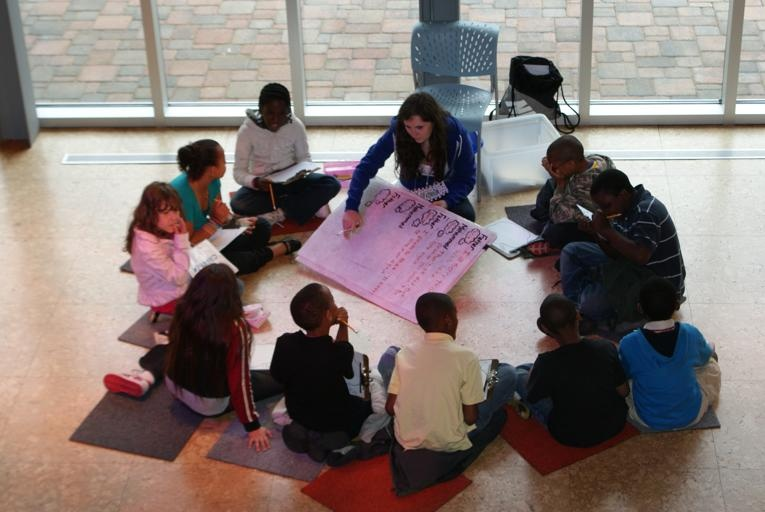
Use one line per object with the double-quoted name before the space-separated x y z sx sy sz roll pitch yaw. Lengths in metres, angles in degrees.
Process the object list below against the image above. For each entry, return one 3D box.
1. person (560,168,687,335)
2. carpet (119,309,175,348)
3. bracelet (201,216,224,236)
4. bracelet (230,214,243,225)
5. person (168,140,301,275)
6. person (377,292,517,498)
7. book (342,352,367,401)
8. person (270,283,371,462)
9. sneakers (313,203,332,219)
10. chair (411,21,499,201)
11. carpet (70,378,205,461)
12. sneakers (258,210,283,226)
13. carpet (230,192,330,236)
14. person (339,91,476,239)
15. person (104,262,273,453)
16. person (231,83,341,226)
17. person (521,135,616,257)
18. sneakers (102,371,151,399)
"person" 1.473 -0.032 3.807 0.710 0.957 0.754 -9 11 -27
"carpet" -1.480 0.466 3.827 0.286 0.010 0.253 15 40 18
"bracelet" -1.114 -0.199 4.038 0.115 0.031 0.083 -38 31 -24
"bracelet" -1.019 -0.261 4.365 0.121 0.037 0.115 -2 18 -13
"person" -1.086 -0.309 4.085 1.081 1.030 0.651 -1 53 -8
"person" 0.340 0.604 3.175 0.713 0.883 0.848 -1 24 3
"book" -0.151 0.623 3.125 0.031 0.247 0.195 -9 -12 26
"person" -0.310 0.601 3.094 0.474 0.877 0.325 -10 23 -18
"sneakers" -0.446 -0.333 4.761 0.120 0.103 0.117 -27 8 -23
"chair" 0.862 -1.209 5.218 1.031 1.058 1.425 3 -21 10
"carpet" -1.363 0.902 3.368 0.524 0.006 0.545 14 15 -15
"sneakers" -0.861 -0.292 4.663 0.239 0.076 0.098 -7 -10 -20
"carpet" -0.655 -0.275 4.483 0.419 0.422 0.118 -21 -16 -3
"person" 0.194 -0.648 4.359 0.943 0.992 0.877 -9 42 4
"person" -0.888 0.436 3.315 1.025 0.777 0.610 14 22 15
"person" -0.738 -0.721 4.505 0.798 0.953 0.758 16 37 15
"person" 1.325 -0.468 4.274 0.577 0.779 0.642 -2 40 18
"sneakers" -1.399 0.707 3.452 0.283 0.124 0.127 6 21 13
